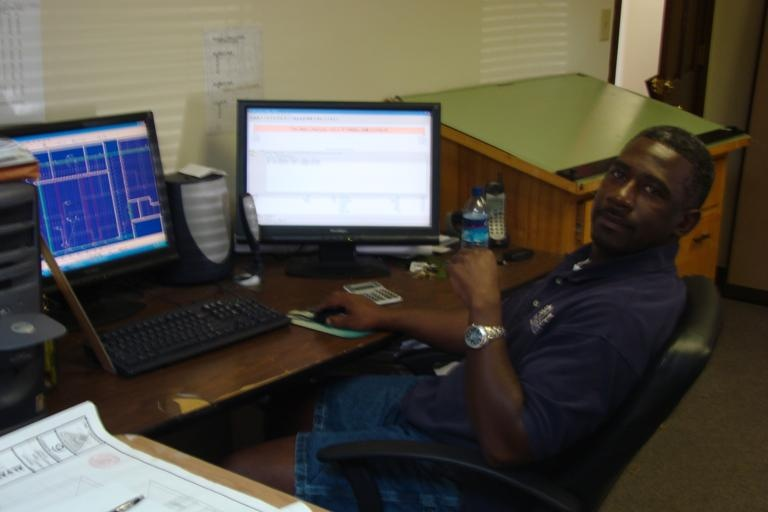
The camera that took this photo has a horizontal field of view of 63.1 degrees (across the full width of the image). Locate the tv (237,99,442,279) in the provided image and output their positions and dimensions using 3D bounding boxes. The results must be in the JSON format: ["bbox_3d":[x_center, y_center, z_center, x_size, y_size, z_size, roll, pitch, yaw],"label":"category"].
[{"bbox_3d":[-0.159,-0.243,2.149,0.671,0.537,0.230,0,5,-3],"label":"tv"}]

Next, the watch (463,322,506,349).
[{"bbox_3d":[0.242,0.188,1.512,0.072,0.040,0.060,-10,8,-40],"label":"watch"}]

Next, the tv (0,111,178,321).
[{"bbox_3d":[-0.808,-0.111,1.703,0.176,0.503,0.545,2,19,40],"label":"tv"}]
